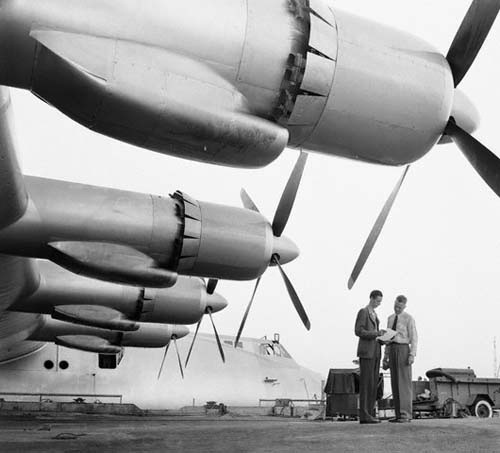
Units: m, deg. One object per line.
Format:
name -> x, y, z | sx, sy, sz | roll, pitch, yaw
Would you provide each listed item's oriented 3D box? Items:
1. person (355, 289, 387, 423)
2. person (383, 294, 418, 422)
person -> 1.698, 1.807, 8.624 | 0.390, 1.821, 0.484 | -2, -19, 12
person -> 2.097, 1.823, 8.628 | 0.552, 1.769, 0.479 | -12, -23, 34
